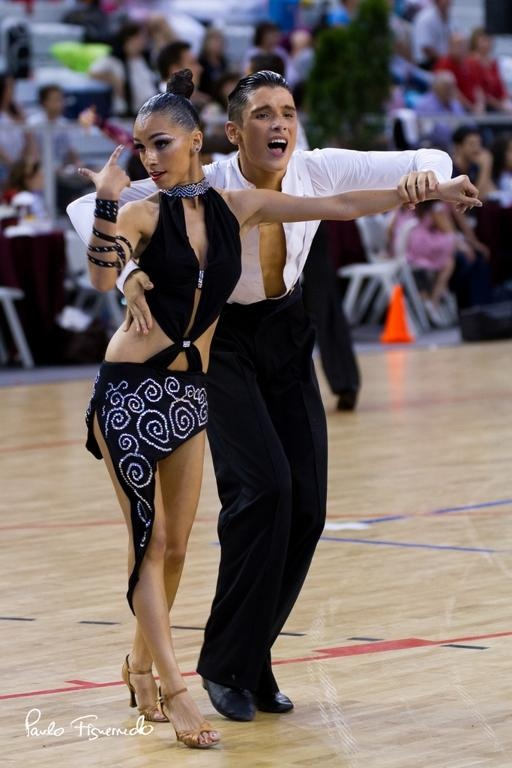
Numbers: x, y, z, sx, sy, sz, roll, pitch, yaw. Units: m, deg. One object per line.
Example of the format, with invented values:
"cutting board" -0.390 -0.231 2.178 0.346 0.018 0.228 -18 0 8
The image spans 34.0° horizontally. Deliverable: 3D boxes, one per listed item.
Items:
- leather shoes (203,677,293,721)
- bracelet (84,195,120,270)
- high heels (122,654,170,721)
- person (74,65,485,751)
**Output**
"leather shoes" -0.013 0.640 1.728 0.121 0.042 0.091 12 0 44
"bracelet" -0.256 -0.267 1.434 0.032 0.103 0.085 7 8 12
"high heels" -0.228 0.633 1.762 0.068 0.090 0.198 -2 3 -38
"person" 0.070 -0.013 1.757 0.840 1.388 0.497 -3 -4 -17
